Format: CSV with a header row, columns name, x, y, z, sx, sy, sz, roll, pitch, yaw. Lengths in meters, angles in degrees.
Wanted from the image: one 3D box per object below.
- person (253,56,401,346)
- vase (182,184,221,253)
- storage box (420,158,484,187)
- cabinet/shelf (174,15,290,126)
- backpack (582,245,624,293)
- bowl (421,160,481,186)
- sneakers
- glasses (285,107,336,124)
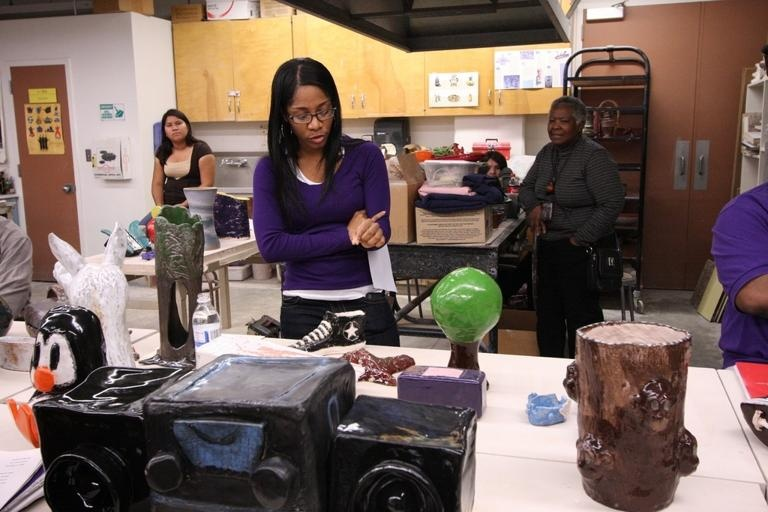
name,x,y,z,sx,sy,sz,roll,pitch,yaw
person,-0.232,-0.166,2.067,0.531,1.096,0.251,-2,11,-1
vase,-1.057,-0.201,3.230,0.175,0.410,0.630,-5,11,-15
storage box,0.391,-0.516,3.373,0.273,0.098,0.194,-6,8,-44
cabinet/shelf,-1.746,-2.323,7.036,1.784,1.229,0.673,3,10,21
backpack,1.451,0.097,3.644,0.260,0.317,0.176,5,-13,-21
bowl,0.412,-0.518,3.399,0.337,0.157,0.199,-1,11,4
sneakers,-0.204,0.237,1.694,0.302,0.128,0.094,-3,10,-7
glasses,-0.250,-0.494,1.935,0.175,0.055,0.103,-5,11,-16
